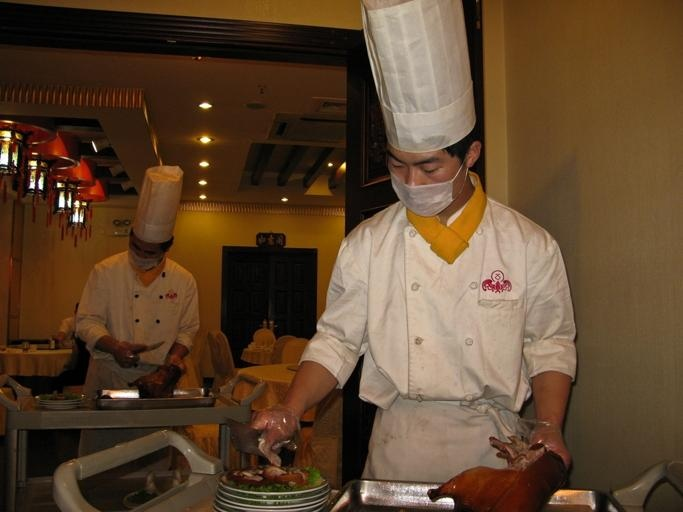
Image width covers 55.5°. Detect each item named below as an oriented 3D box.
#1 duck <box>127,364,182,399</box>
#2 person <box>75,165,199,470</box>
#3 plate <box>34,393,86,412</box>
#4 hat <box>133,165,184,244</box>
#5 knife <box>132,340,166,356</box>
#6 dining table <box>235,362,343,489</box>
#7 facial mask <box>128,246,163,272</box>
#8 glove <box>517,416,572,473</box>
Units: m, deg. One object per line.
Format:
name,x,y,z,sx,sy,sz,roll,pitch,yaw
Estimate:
duck,-0.932,0.634,3.296,0.167,0.155,0.175,8,2,-33
person,-1.170,0.311,3.748,0.508,1.987,0.635,1,1,-18
plate,-1.356,0.698,3.141,0.227,0.026,0.401,1,0,-27
hat,-1.075,-0.312,3.836,0.313,0.481,0.273,1,0,-42
knife,-1.102,0.519,3.664,0.158,0.081,0.243,1,0,-18
dining table,-0.324,1.126,4.329,0.666,1.142,0.670,2,0,-18
facial mask,-1.155,0.024,3.808,0.175,0.120,0.115,1,0,-21
glove,0.595,0.512,1.902,0.160,0.165,0.179,3,3,18
